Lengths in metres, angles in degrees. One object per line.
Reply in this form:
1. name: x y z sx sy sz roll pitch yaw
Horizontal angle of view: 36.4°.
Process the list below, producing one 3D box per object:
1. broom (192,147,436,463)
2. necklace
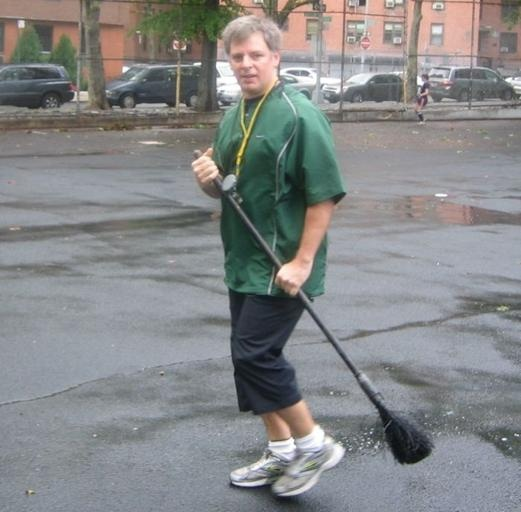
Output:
1. broom: 0.312 0.312 4.431 0.375 2.704 0.359 -44 -2 -23
2. necklace: -0.067 -0.484 3.246 0.172 0.377 0.161 -10 28 -30
